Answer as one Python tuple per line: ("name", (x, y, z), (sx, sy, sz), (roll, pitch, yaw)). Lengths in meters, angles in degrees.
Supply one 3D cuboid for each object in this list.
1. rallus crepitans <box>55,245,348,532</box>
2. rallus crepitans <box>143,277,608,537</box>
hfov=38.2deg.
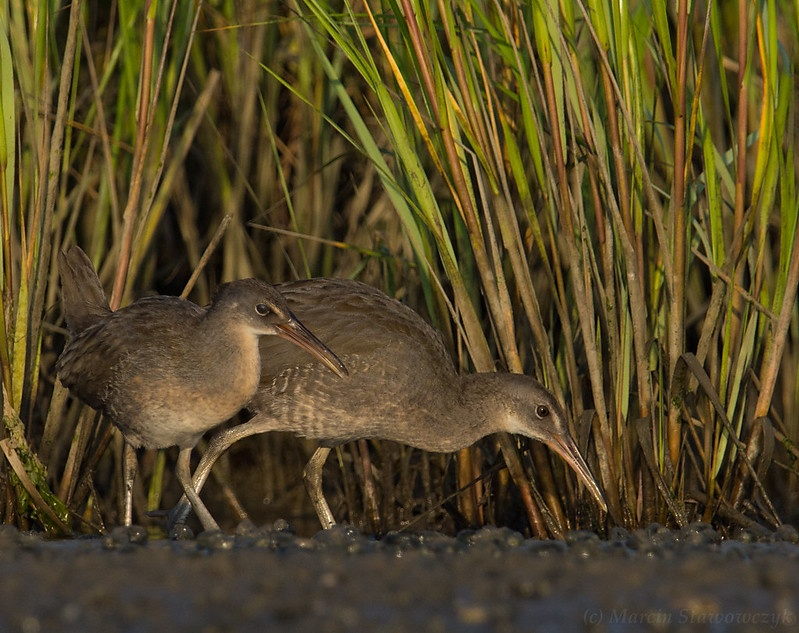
("rallus crepitans", (-1.105, 0.411, 5.569), (1.416, 1.434, 0.720), (17, 16, 22))
("rallus crepitans", (-0.197, 0.595, 5.679), (2.317, 1.273, 0.638), (12, 0, 13))
